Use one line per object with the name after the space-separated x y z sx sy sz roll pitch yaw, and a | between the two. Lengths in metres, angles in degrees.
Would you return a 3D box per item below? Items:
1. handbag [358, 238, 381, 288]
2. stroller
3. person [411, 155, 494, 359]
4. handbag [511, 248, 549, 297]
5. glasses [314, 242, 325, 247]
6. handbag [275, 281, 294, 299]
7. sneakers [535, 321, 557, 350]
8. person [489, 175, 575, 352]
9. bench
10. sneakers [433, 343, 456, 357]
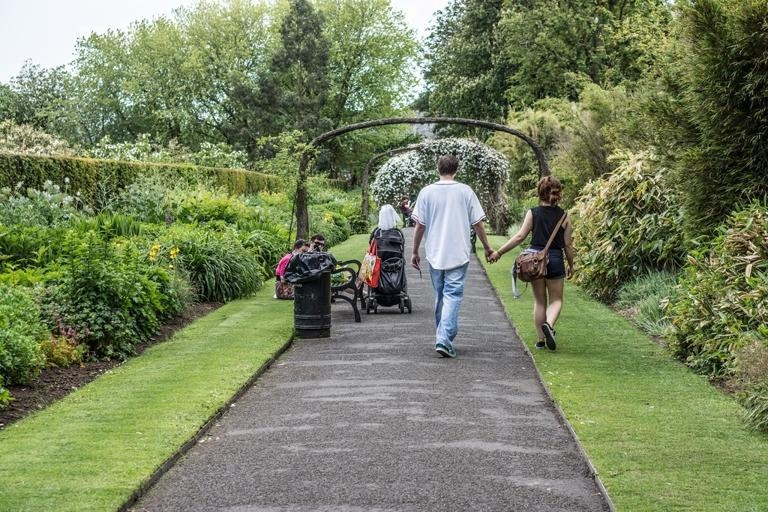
-0.230 0.146 12.210 0.327 0.897 0.483 -9 12 -42 | handbag
0.069 0.184 12.678 0.861 1.498 0.960 0 7 -1 | stroller
0.912 -0.022 9.429 1.058 2.713 0.822 1 9 8 | person
1.967 0.188 9.462 0.491 0.609 0.599 3 -13 23 | handbag
-1.177 -0.224 12.424 0.099 0.071 0.131 -1 1 -25 | glasses
-1.984 0.667 13.596 0.387 0.304 0.388 3 -1 -25 | handbag
2.289 1.114 9.467 0.187 0.502 0.223 17 55 38 | sneakers
2.168 0.107 9.438 0.859 2.399 0.602 2 9 15 | person
-0.849 0.506 13.597 0.737 1.144 2.188 -4 4 2 | bench
0.847 1.258 9.307 0.256 0.230 0.260 1 9 9 | sneakers
